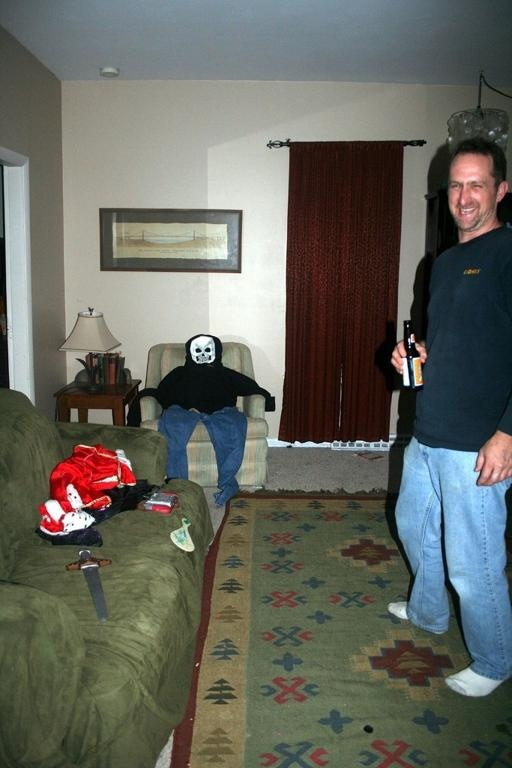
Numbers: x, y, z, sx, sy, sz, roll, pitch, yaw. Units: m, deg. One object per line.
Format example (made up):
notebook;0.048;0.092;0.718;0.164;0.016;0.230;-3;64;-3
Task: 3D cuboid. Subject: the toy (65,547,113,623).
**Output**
toy;-0.422;0.514;1.538;0.072;0.025;0.229;3;7;-24

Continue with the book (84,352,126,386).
book;-0.991;-0.099;3.943;0.208;0.277;0.277;0;0;-41

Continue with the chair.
chair;-0.206;0.158;3.684;0.789;1.020;0.841;0;-1;-3

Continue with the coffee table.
coffee table;-1.028;0.089;3.861;0.398;0.391;0.403;-1;7;-3

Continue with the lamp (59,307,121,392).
lamp;-1.112;-0.243;3.758;0.315;0.392;0.300;24;14;39

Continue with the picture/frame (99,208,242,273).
picture/frame;-0.602;-0.998;4.187;0.990;0.428;0.040;0;8;0
